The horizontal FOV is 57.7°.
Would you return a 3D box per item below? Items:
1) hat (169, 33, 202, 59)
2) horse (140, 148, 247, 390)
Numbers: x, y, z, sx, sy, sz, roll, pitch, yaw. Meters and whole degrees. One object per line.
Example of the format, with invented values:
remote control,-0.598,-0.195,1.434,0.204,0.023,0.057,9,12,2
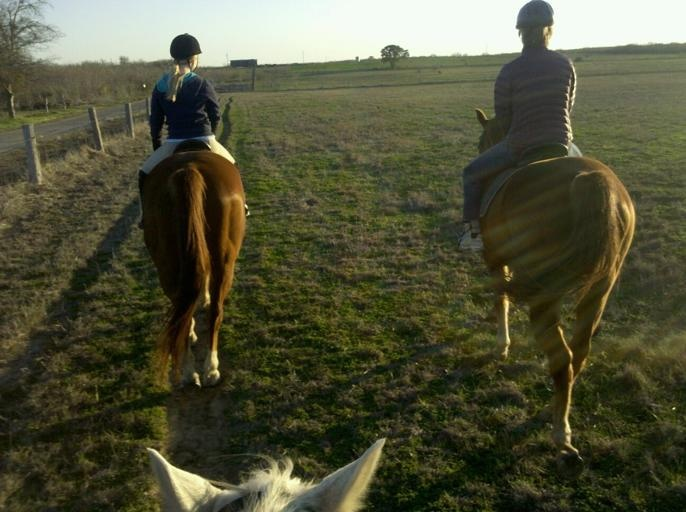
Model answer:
hat,-2.205,-2.896,8.596,0.378,0.357,0.515,-5,19,-15
horse,-1.925,0.190,8.065,1.203,2.806,1.778,-1,18,-3
